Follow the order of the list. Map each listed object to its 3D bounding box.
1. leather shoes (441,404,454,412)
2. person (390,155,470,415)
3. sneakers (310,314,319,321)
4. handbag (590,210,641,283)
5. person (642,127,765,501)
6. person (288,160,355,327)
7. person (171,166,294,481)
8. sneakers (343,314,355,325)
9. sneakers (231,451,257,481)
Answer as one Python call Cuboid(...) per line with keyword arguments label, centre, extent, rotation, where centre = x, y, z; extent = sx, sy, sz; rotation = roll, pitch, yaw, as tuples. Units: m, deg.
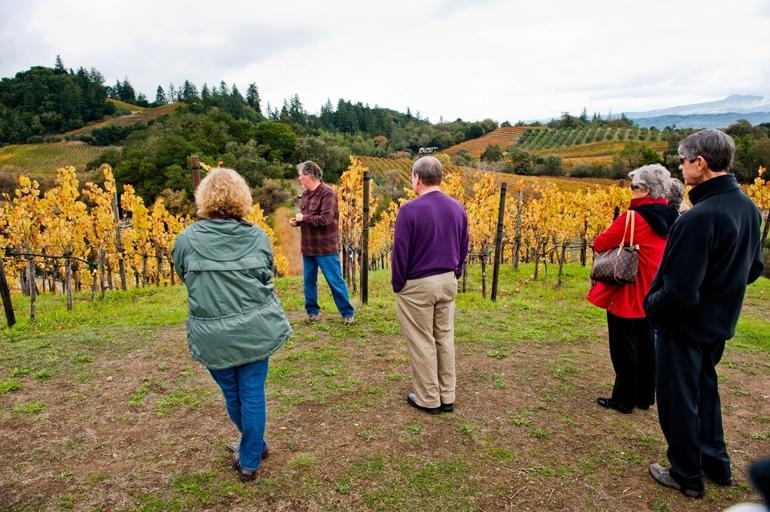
Cuboid(label="leather shoes", centre=(0.894, 2.174, 8.183), extent=(0.092, 0.160, 0.152), rotation=(4, -11, -21))
Cuboid(label="person", centre=(0.640, 0.416, 8.146), extent=(1.067, 3.582, 0.708), rotation=(-4, 11, -9))
Cuboid(label="sneakers", centre=(-1.329, 1.171, 10.774), extent=(0.111, 0.077, 0.119), rotation=(2, 4, 2))
Cuboid(label="handbag", centre=(3.237, -0.102, 8.060), extent=(0.607, 1.031, 0.407), rotation=(2, 12, 23))
Cuboid(label="person", centre=(3.934, 0.712, 7.140), extent=(1.294, 4.461, 0.829), rotation=(-5, 11, -13))
Cuboid(label="person", centre=(-1.144, -0.180, 10.376), extent=(0.871, 3.003, 0.717), rotation=(2, 11, 21))
Cuboid(label="person", centre=(-1.861, 0.865, 7.165), extent=(1.208, 3.850, 0.704), rotation=(-4, 11, -11))
Cuboid(label="sneakers", centre=(-0.669, 1.211, 10.675), extent=(0.135, 0.169, 0.177), rotation=(0, 2, -10))
Cuboid(label="sneakers", centre=(-1.774, 2.709, 7.267), extent=(0.188, 0.194, 0.430), rotation=(3, 25, -29))
